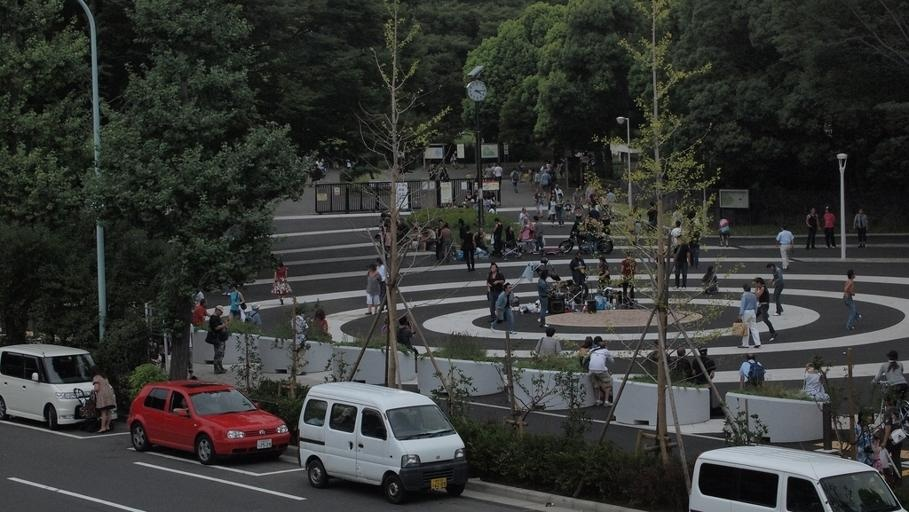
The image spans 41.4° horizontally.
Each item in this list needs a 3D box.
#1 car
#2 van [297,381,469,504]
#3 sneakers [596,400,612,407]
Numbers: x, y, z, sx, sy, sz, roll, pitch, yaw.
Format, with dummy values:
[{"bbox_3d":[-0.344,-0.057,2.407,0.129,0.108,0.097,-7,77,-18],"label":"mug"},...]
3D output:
[{"bbox_3d":[-10.128,6.837,49.755,5.066,2.192,3.357,3,1,36],"label":"car"},{"bbox_3d":[-2.922,7.248,46.422,3.497,3.971,7.468,0,-1,-42],"label":"van"},{"bbox_3d":[6.488,6.490,52.063,0.635,0.302,0.236,1,-2,-2],"label":"sneakers"}]
